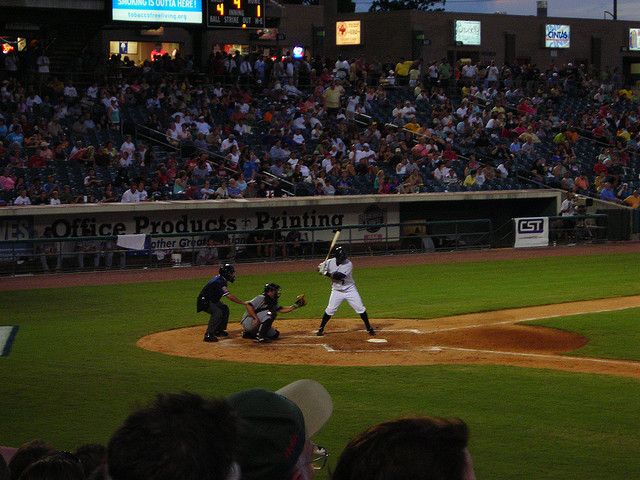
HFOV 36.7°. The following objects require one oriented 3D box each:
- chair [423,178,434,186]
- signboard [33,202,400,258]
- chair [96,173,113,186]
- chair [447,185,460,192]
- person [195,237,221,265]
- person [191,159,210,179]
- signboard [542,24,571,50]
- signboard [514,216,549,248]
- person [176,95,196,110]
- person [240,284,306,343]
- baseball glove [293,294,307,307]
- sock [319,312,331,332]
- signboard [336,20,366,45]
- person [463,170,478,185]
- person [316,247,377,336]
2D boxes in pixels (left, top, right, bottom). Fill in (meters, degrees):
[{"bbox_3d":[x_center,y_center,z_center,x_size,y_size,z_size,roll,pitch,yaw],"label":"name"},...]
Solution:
[{"bbox_3d":[4.163,-2.180,35.869,0.326,0.242,0.497,3,6,18],"label":"chair"},{"bbox_3d":[-2.778,-0.430,31.374,12.912,1.288,1.247,-3,15,-23],"label":"signboard"},{"bbox_3d":[-6.972,-1.970,31.128,0.502,0.414,0.488,0,1,36],"label":"chair"},{"bbox_3d":[4.994,-1.962,35.870,0.317,0.114,0.208,-5,-4,-19],"label":"chair"},{"bbox_3d":[-3.606,0.304,30.791,0.872,0.835,0.875,-6,15,-36],"label":"person"},{"bbox_3d":[-4.039,-2.391,32.360,0.505,0.676,0.625,24,23,35],"label":"person"},{"bbox_3d":[13.785,-11.887,56.396,1.965,1.055,0.245,-1,4,-16],"label":"signboard"},{"bbox_3d":[7.730,-0.320,35.354,1.925,1.111,0.193,-3,5,-34],"label":"signboard"},{"bbox_3d":[-5.033,-5.123,35.974,0.851,0.231,0.259,-20,-5,-41],"label":"person"},{"bbox_3d":[-1.037,1.582,21.087,1.583,1.151,0.817,2,-6,7],"label":"person"},{"bbox_3d":[-0.447,1.320,21.093,0.192,0.162,0.465,-31,-6,-33],"label":"baseball glove"},{"bbox_3d":[0.121,1.762,21.401,0.229,0.498,0.499,4,14,0],"label":"sock"},{"bbox_3d":[1.765,-11.431,52.828,1.688,0.985,0.255,2,11,24],"label":"signboard"},{"bbox_3d":[5.750,-2.367,36.345,0.629,0.677,0.505,6,8,18],"label":"person"},{"bbox_3d":[0.554,1.119,21.414,1.189,1.978,0.856,3,15,-1],"label":"person"}]
